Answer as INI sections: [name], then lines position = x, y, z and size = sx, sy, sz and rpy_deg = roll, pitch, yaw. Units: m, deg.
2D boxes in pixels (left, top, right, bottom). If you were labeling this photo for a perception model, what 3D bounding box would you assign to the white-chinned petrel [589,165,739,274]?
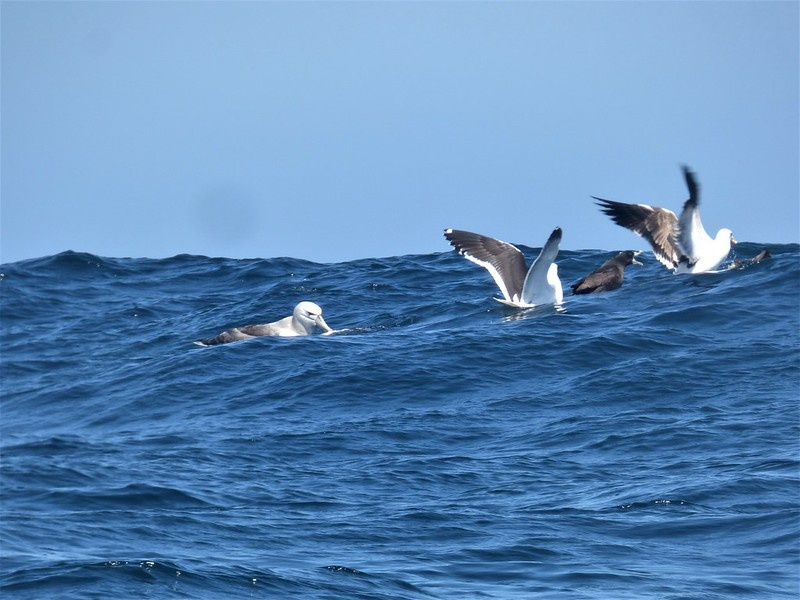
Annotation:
[white-chinned petrel]
position = 5.897, -1.357, 32.025
size = 2.102, 1.316, 2.666
rpy_deg = -22, -4, 19
